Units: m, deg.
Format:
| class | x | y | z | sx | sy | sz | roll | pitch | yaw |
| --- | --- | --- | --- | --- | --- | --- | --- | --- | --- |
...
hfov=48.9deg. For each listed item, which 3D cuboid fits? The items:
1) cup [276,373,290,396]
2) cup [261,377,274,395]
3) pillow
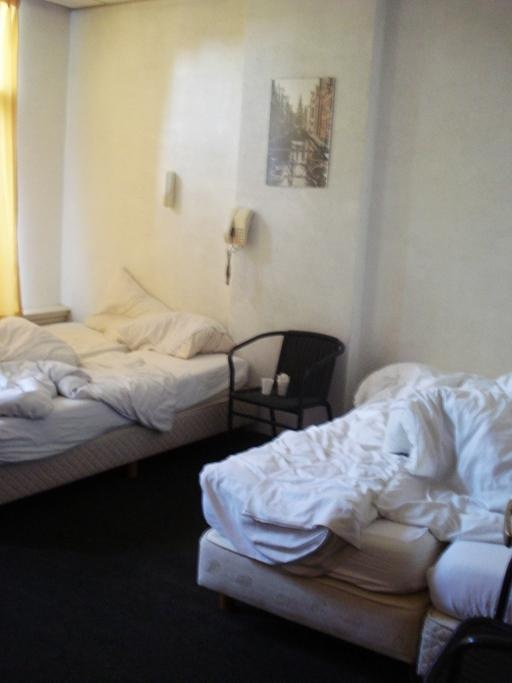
| class | x | y | z | sx | sy | sz | roll | pitch | yaw |
| --- | --- | --- | --- | --- | --- | --- | --- | --- | --- |
| cup | 0.160 | 0.264 | 3.468 | 0.102 | 0.168 | 0.125 | 1 | 5 | -2 |
| cup | 0.063 | 0.272 | 3.509 | 0.076 | 0.093 | 0.089 | -7 | 20 | -42 |
| pillow | -0.668 | -0.178 | 4.236 | 1.172 | 0.354 | 0.817 | 21 | 23 | 38 |
